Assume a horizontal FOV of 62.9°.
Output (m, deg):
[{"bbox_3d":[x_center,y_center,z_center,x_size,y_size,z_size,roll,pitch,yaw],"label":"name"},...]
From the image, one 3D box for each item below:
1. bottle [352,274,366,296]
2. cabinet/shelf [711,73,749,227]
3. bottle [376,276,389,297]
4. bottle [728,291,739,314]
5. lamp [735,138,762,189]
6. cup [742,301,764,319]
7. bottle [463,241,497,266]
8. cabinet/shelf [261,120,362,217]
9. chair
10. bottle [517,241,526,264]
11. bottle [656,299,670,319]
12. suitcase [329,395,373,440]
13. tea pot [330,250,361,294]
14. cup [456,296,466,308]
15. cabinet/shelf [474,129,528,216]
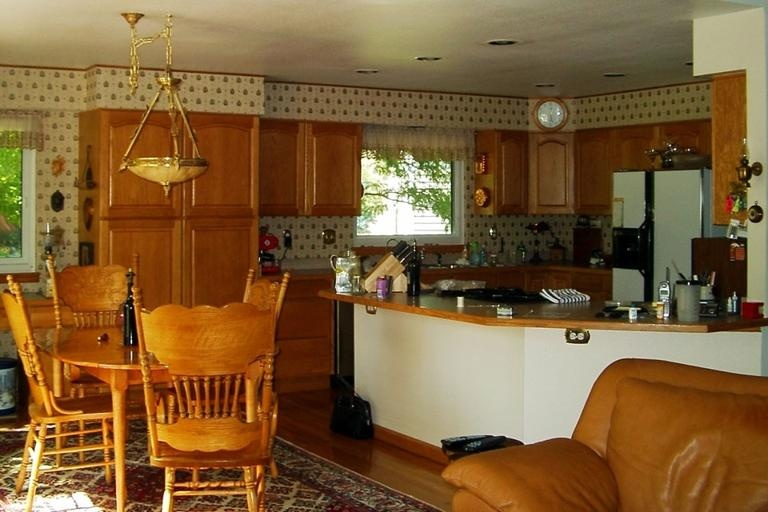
[{"bbox_3d":[-0.222,0.257,5.550,0.168,0.234,0.161,-1,0,0],"label":"bottle"},{"bbox_3d":[2.542,-0.792,4.670,0.103,1.105,0.243,-2,5,-23],"label":"cabinet/shelf"},{"bbox_3d":[0.000,0.256,5.370,0.122,0.159,0.257,0,4,0],"label":"bottle"},{"bbox_3d":[2.418,0.328,4.356,0.073,0.125,0.162,2,5,25],"label":"bottle"},{"bbox_3d":[2.569,-0.669,4.478,0.272,0.369,0.182,-3,6,-38],"label":"lamp"},{"bbox_3d":[2.499,0.370,4.289,0.137,0.118,0.136,0,-1,0],"label":"cup"},{"bbox_3d":[1.328,-0.030,8.353,0.295,0.378,0.462,0,1,-7],"label":"bottle"},{"bbox_3d":[-0.895,-1.020,7.318,1.343,0.956,0.441,0,3,-23],"label":"cabinet/shelf"},{"bbox_3d":[-1.504,0.854,4.206,1.849,1.154,1.884,0,5,-5],"label":"chair"},{"bbox_3d":[1.928,-0.053,8.771,0.128,0.262,0.405,1,4,12],"label":"bottle"},{"bbox_3d":[1.882,0.357,4.235,0.082,0.121,0.155,2,5,24],"label":"bottle"},{"bbox_3d":[-0.271,1.424,5.518,0.152,0.287,0.373,0,8,-44],"label":"suitcase"},{"bbox_3d":[-0.443,0.152,5.785,0.473,0.450,0.310,0,2,-5],"label":"tea pot"},{"bbox_3d":[0.583,0.361,4.869,0.078,0.086,0.072,0,-1,0],"label":"cup"},{"bbox_3d":[1.567,-1.113,8.326,0.720,1.088,0.316,1,4,8],"label":"cabinet/shelf"}]
